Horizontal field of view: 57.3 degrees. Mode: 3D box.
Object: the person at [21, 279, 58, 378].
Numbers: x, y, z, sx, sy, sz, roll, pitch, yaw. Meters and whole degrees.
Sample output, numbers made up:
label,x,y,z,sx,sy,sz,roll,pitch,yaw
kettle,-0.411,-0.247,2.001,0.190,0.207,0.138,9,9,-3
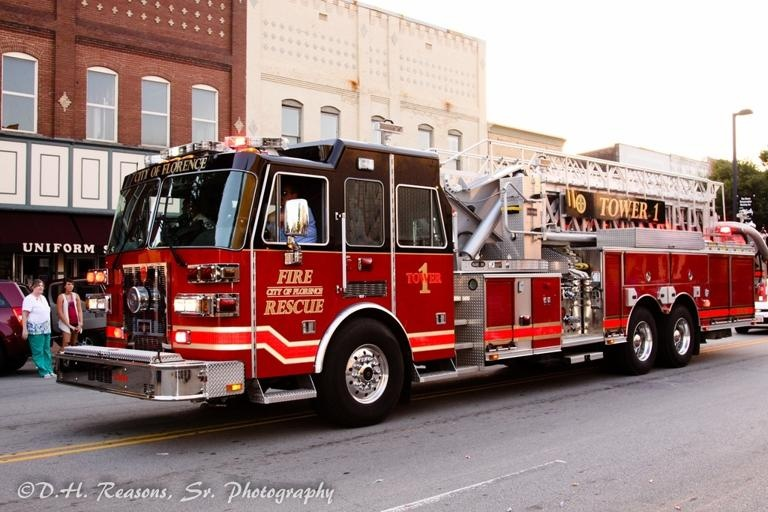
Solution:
label,x,y,z,sx,sy,sz,roll,pitch,yaw
person,-7.657,1.613,15.454,0.577,2.215,0.595,-3,6,-27
